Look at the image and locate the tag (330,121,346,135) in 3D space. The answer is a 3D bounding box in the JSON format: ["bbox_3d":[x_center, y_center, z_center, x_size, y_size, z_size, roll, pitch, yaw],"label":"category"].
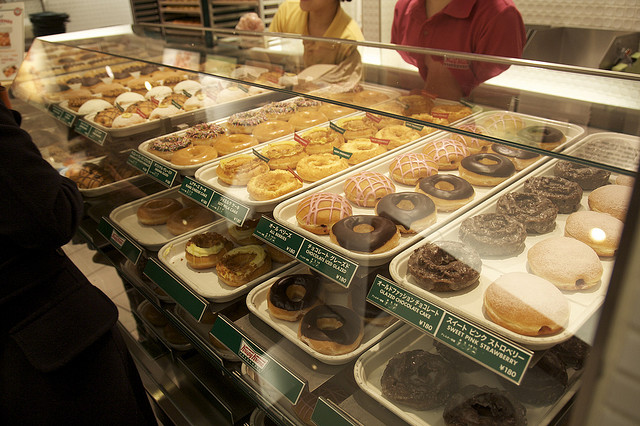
[{"bbox_3d":[0.101,-0.476,2.343,0.110,0.010,0.130,11,34,2],"label":"tag"}]

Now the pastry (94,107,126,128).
[{"bbox_3d":[-1.347,-0.637,2.660,0.145,0.044,0.153,6,29,3],"label":"pastry"}]

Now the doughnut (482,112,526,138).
[{"bbox_3d":[0.675,-0.335,1.533,0.110,0.038,0.119,6,26,20],"label":"doughnut"}]

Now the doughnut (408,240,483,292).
[{"bbox_3d":[0.473,0.207,1.625,0.270,0.081,0.283,20,35,38],"label":"doughnut"}]

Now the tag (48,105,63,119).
[{"bbox_3d":[-1.798,-0.697,2.863,0.092,0.021,0.085,3,62,7],"label":"tag"}]

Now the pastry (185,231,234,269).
[{"bbox_3d":[-0.592,0.184,2.229,0.195,0.087,0.196,21,31,34],"label":"pastry"}]

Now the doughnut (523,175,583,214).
[{"bbox_3d":[0.987,-0.107,1.811,0.156,0.078,0.208,-26,37,-24],"label":"doughnut"}]

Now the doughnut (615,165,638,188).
[{"bbox_3d":[0.925,-0.114,1.270,0.073,0.016,0.071,-10,26,12],"label":"doughnut"}]

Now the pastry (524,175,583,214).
[{"bbox_3d":[0.991,-0.107,1.808,0.153,0.076,0.203,-23,35,-21],"label":"pastry"}]

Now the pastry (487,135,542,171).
[{"bbox_3d":[0.814,-0.289,1.800,0.201,0.067,0.203,22,35,38],"label":"pastry"}]

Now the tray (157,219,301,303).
[{"bbox_3d":[-0.513,0.259,2.135,0.506,0.067,0.425,-27,45,-31],"label":"tray"}]

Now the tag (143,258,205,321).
[{"bbox_3d":[-0.756,0.388,2.210,0.460,0.110,0.033,34,49,30],"label":"tag"}]

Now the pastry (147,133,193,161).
[{"bbox_3d":[-0.872,-0.393,2.409,0.193,0.066,0.189,3,26,4],"label":"pastry"}]

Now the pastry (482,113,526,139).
[{"bbox_3d":[0.669,-0.330,1.526,0.110,0.037,0.116,-8,35,6],"label":"pastry"}]

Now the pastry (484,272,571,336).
[{"bbox_3d":[0.700,0.310,1.437,0.208,0.093,0.203,3,35,9],"label":"pastry"}]

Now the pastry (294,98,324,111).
[{"bbox_3d":[-0.072,-0.666,2.560,0.177,0.056,0.172,14,25,34],"label":"pastry"}]

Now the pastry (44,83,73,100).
[{"bbox_3d":[-1.810,-0.851,2.899,0.134,0.043,0.134,-2,36,-4],"label":"pastry"}]

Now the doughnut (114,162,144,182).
[{"bbox_3d":[-1.254,-0.281,2.762,0.142,0.034,0.147,-36,70,-29],"label":"doughnut"}]

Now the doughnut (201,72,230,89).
[{"bbox_3d":[-0.636,-0.813,2.627,0.200,0.062,0.193,0,16,-11],"label":"doughnut"}]

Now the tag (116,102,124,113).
[{"bbox_3d":[-1.307,-0.697,2.753,0.016,0.061,0.061,-42,48,-1],"label":"tag"}]

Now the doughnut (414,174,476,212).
[{"bbox_3d":[0.600,-0.089,1.897,0.211,0.075,0.199,-22,25,7],"label":"doughnut"}]

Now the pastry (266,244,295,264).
[{"bbox_3d":[-0.215,0.220,2.223,0.111,0.031,0.108,-6,34,-39],"label":"pastry"}]

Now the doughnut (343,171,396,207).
[{"bbox_3d":[0.224,-0.118,1.977,0.170,0.093,0.192,-2,23,-2],"label":"doughnut"}]

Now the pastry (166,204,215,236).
[{"bbox_3d":[-0.749,0.030,2.441,0.207,0.066,0.207,-17,24,-18],"label":"pastry"}]

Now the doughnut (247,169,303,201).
[{"bbox_3d":[-0.235,-0.144,2.064,0.188,0.059,0.182,0,27,6],"label":"doughnut"}]

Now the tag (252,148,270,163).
[{"bbox_3d":[-0.331,-0.321,2.292,0.138,0.018,0.037,27,46,24],"label":"tag"}]

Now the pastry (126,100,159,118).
[{"bbox_3d":[-1.139,-0.696,2.721,0.143,0.043,0.154,9,22,14],"label":"pastry"}]

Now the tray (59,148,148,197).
[{"bbox_3d":[-1.338,-0.219,2.717,0.508,0.068,0.335,-26,42,-35],"label":"tray"}]

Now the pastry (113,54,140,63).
[{"bbox_3d":[-1.244,-1.006,2.705,0.115,0.026,0.110,-18,34,-37],"label":"pastry"}]

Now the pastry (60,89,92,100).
[{"bbox_3d":[-1.672,-0.822,2.874,0.109,0.030,0.117,-8,12,5],"label":"pastry"}]

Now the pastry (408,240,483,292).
[{"bbox_3d":[0.479,0.209,1.632,0.282,0.084,0.288,8,27,31],"label":"pastry"}]

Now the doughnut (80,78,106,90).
[{"bbox_3d":[-1.595,-0.915,2.940,0.121,0.034,0.084,-14,29,-28],"label":"doughnut"}]

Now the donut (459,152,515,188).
[{"bbox_3d":[0.795,-0.210,1.990,0.279,0.097,0.265,-11,27,-32],"label":"donut"}]

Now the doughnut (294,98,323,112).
[{"bbox_3d":[-0.072,-0.669,2.562,0.151,0.048,0.150,17,26,39],"label":"doughnut"}]

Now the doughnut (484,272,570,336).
[{"bbox_3d":[0.701,0.311,1.432,0.200,0.095,0.207,-14,33,-10],"label":"doughnut"}]

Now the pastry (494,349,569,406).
[{"bbox_3d":[0.837,0.633,1.576,0.212,0.084,0.207,14,47,23],"label":"pastry"}]

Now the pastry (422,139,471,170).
[{"bbox_3d":[0.617,-0.295,2.036,0.172,0.079,0.166,0,29,4],"label":"pastry"}]

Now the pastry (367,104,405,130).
[{"bbox_3d":[0.305,-0.448,1.906,0.168,0.053,0.161,4,44,3],"label":"pastry"}]

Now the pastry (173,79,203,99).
[{"bbox_3d":[-0.860,-0.827,2.740,0.160,0.093,0.158,-30,45,-35],"label":"pastry"}]

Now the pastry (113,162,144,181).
[{"bbox_3d":[-1.260,-0.277,2.755,0.139,0.033,0.142,-32,60,-33],"label":"pastry"}]

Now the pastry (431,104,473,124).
[{"bbox_3d":[0.550,-0.423,1.736,0.121,0.034,0.117,3,33,10],"label":"pastry"}]

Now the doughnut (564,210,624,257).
[{"bbox_3d":[1.054,0.081,1.648,0.226,0.086,0.214,4,25,-10],"label":"doughnut"}]
